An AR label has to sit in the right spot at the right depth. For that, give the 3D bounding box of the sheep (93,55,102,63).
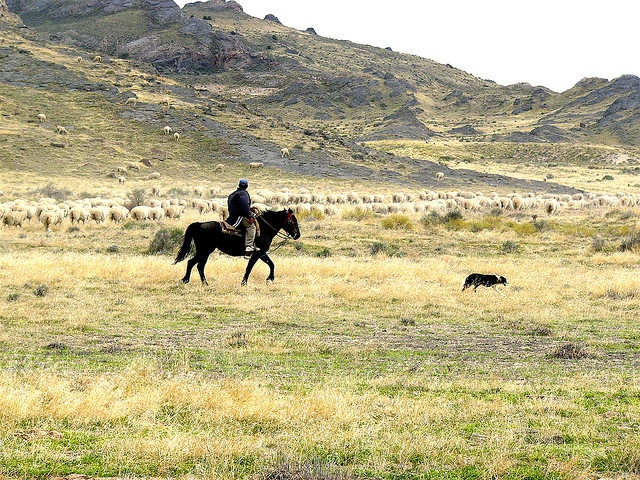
[{"bbox_3d":[-37.025,-30.248,169.879,0.741,1.179,2.595,-2,6,-29],"label":"sheep"}]

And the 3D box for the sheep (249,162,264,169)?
[{"bbox_3d":[-8.455,-10.175,137.684,1.850,0.836,0.662,10,-8,-34],"label":"sheep"}]

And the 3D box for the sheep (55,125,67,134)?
[{"bbox_3d":[-34.677,-14.795,137.215,1.527,1.327,1.563,8,-8,-16],"label":"sheep"}]

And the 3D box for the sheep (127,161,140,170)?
[{"bbox_3d":[-24.164,-9.685,132.433,1.722,0.773,0.833,0,25,-40],"label":"sheep"}]
